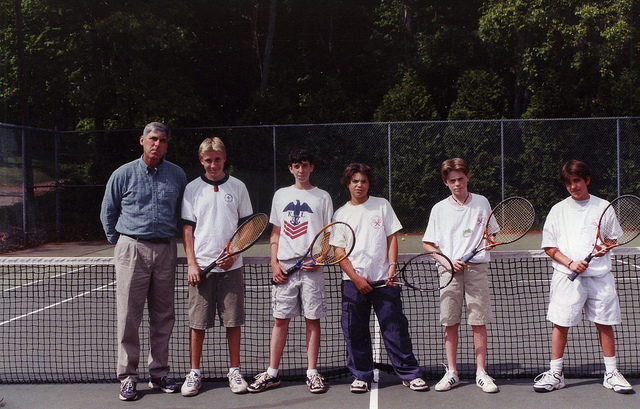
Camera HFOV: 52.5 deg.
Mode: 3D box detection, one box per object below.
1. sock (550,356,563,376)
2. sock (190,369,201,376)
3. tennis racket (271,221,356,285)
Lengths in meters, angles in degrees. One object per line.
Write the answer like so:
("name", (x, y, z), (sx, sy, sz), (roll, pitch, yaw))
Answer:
("sock", (3.720, 2.538, 10.239), (0.124, 0.275, 0.258), (-10, 14, 15))
("sock", (-1.980, 2.668, 10.324), (0.152, 0.107, 0.137), (0, -2, -27))
("tennis racket", (-0.115, 0.747, 10.318), (0.924, 0.355, 0.071), (-30, -7, 16))
